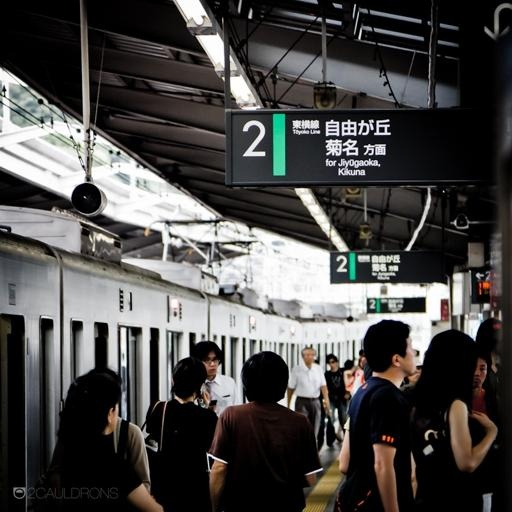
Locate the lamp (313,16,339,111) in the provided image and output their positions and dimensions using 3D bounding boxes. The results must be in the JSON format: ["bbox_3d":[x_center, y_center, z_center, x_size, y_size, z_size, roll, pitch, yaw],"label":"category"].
[{"bbox_3d":[0.673,-1.943,7.337,0.180,1.209,0.140,-1,-21,5],"label":"lamp"}]
